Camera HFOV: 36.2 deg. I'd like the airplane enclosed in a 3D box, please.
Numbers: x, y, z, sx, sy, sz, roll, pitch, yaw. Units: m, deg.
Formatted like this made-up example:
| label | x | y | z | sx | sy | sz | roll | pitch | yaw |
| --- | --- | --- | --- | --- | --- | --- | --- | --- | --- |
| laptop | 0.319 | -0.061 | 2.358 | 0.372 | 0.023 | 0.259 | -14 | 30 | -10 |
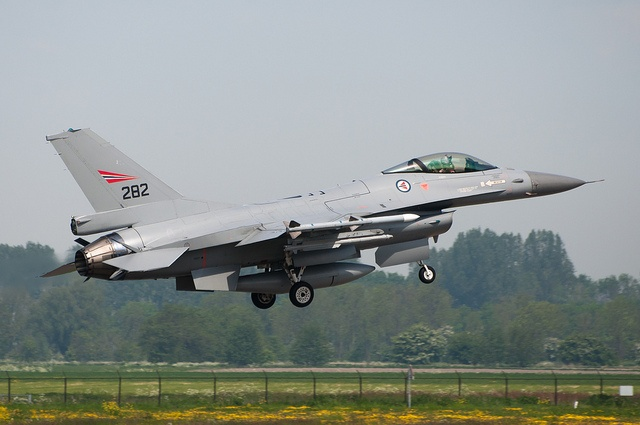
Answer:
| label | x | y | z | sx | sy | sz | roll | pitch | yaw |
| --- | --- | --- | --- | --- | --- | --- | --- | --- | --- |
| airplane | -1.826 | 0.662 | 55.798 | 24.090 | 5.257 | 13.881 | -4 | 1 | -14 |
